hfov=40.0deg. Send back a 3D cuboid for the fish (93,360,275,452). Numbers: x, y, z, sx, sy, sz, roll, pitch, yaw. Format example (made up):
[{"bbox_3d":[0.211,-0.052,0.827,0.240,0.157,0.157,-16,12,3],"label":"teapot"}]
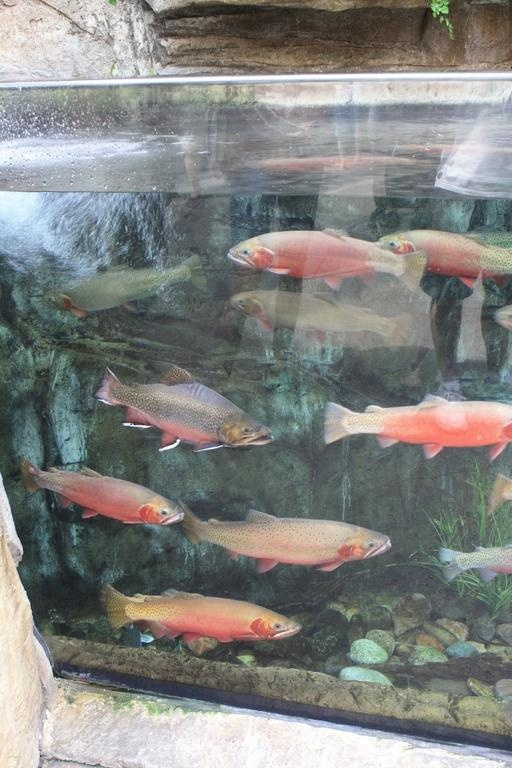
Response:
[{"bbox_3d":[-0.228,0.077,2.058,0.526,0.261,0.129,14,17,13],"label":"fish"}]

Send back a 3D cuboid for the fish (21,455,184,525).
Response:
[{"bbox_3d":[-0.498,0.363,2.237,0.592,0.184,0.104,10,17,19],"label":"fish"}]

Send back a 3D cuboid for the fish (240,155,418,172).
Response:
[{"bbox_3d":[0.198,-0.581,1.854,0.444,0.043,0.030,3,18,10],"label":"fish"}]
